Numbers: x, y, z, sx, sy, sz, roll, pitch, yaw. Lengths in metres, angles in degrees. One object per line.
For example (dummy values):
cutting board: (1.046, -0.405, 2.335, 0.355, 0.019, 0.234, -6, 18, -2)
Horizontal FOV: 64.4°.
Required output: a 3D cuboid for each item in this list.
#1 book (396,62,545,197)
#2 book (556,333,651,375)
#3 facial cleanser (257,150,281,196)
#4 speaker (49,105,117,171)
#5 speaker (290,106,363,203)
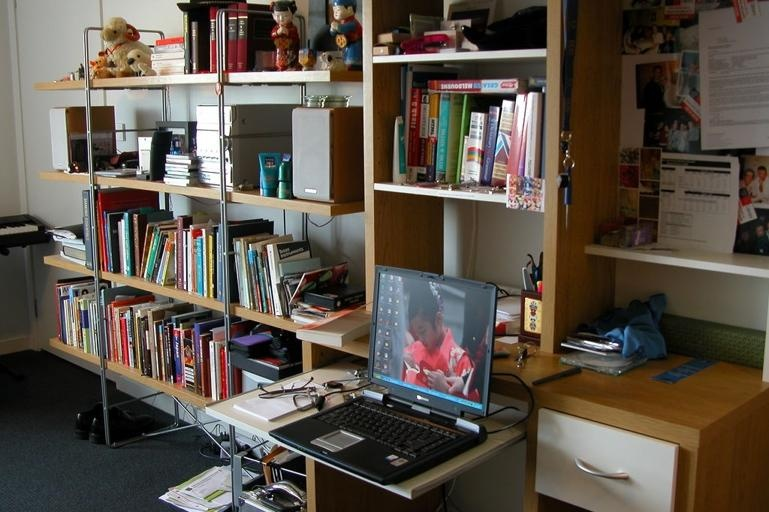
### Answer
book: (0.343, -0.480, 2.398, 0.535, 0.374, 0.205, 11, 12, 42)
book: (0.765, 0.356, 2.197, 0.178, 0.047, 0.180, 9, 14, 41)
facial cleanser: (-0.547, -0.393, 2.951, 0.107, 0.198, 0.213, -2, 13, -1)
speaker: (-1.856, -0.725, 3.969, 0.370, 0.425, 0.351, -5, 0, -17)
speaker: (-0.247, -0.463, 2.834, 0.315, 0.417, 0.318, 7, 12, 27)
